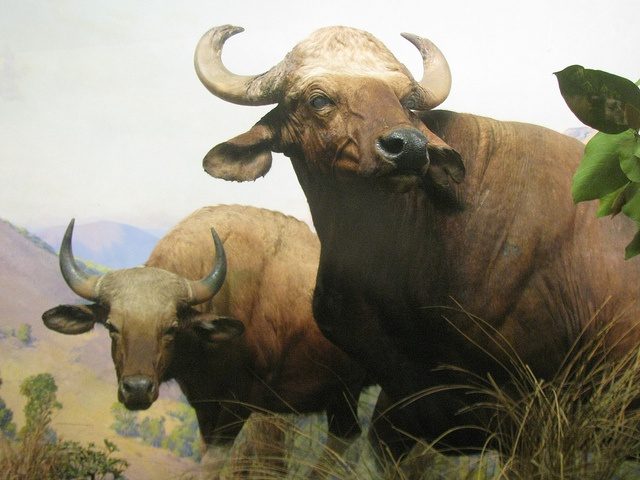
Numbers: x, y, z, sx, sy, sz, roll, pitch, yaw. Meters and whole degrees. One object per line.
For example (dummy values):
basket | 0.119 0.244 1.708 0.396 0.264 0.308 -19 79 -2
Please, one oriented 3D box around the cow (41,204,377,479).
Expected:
cow | -0.453 0.697 6.247 1.151 1.815 2.733 -4 -10 35
